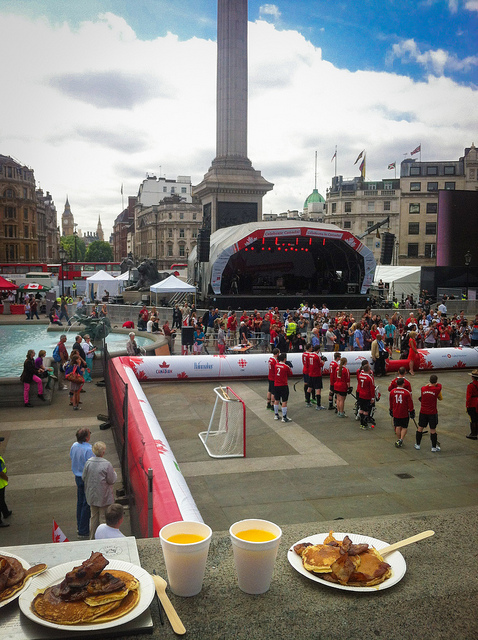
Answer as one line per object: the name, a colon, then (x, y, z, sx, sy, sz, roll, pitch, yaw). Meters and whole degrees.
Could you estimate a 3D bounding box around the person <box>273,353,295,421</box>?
person: (1.122, 1.746, 13.197, 0.529, 1.736, 0.883, 4, -7, 11)

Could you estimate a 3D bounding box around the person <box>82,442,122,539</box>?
person: (-2.042, 2.427, 7.285, 0.454, 1.412, 1.048, 8, -7, -17)

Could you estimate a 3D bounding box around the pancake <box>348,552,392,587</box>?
pancake: (0.699, 1.342, 2.731, 0.138, 0.045, 0.171, 1, 8, 40)

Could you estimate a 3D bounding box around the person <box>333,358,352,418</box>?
person: (2.725, 1.820, 13.530, 0.462, 1.555, 1.447, 4, -7, 11)

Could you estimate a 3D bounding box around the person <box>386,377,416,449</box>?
person: (3.615, 2.097, 11.378, 0.499, 1.560, 0.928, 2, -8, 29)

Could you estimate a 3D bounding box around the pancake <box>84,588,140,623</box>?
pancake: (-0.554, 1.223, 2.165, 0.145, 0.026, 0.188, -4, -4, 31)

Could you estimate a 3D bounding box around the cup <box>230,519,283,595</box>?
cup: (0.083, 1.263, 2.691, 0.319, 0.327, 0.337, 1, -7, 0)

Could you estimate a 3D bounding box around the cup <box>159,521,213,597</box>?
cup: (-0.279, 1.246, 2.648, 0.268, 0.277, 0.258, 2, -3, 0)

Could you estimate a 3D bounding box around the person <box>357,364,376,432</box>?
person: (3.205, 1.962, 12.853, 0.452, 1.638, 0.756, 4, -7, 14)

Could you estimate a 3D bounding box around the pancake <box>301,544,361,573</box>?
pancake: (0.451, 1.307, 2.795, 0.166, 0.049, 0.162, -8, 5, -37)
